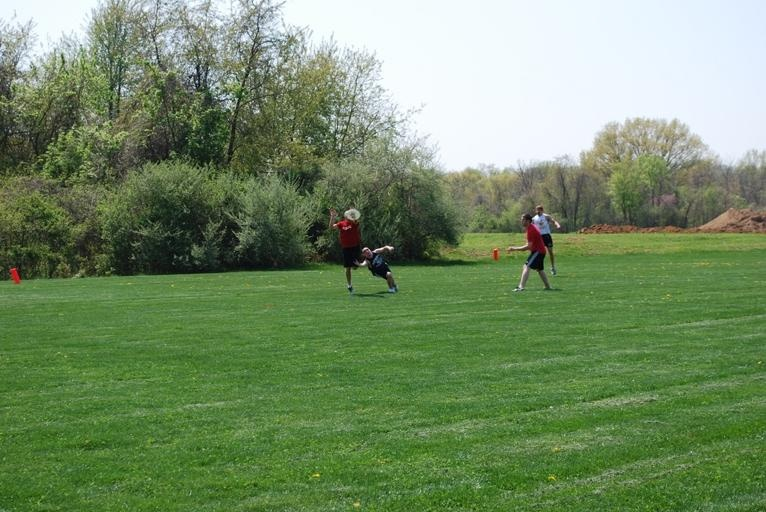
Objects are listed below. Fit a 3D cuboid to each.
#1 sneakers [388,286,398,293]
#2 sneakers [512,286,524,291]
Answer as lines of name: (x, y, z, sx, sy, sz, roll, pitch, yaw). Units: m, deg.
sneakers: (0.333, 1.092, 26.955, 0.177, 0.206, 0.484, 0, -7, -4)
sneakers: (4.508, 1.069, 26.581, 0.362, 0.142, 0.125, 2, -6, -34)
